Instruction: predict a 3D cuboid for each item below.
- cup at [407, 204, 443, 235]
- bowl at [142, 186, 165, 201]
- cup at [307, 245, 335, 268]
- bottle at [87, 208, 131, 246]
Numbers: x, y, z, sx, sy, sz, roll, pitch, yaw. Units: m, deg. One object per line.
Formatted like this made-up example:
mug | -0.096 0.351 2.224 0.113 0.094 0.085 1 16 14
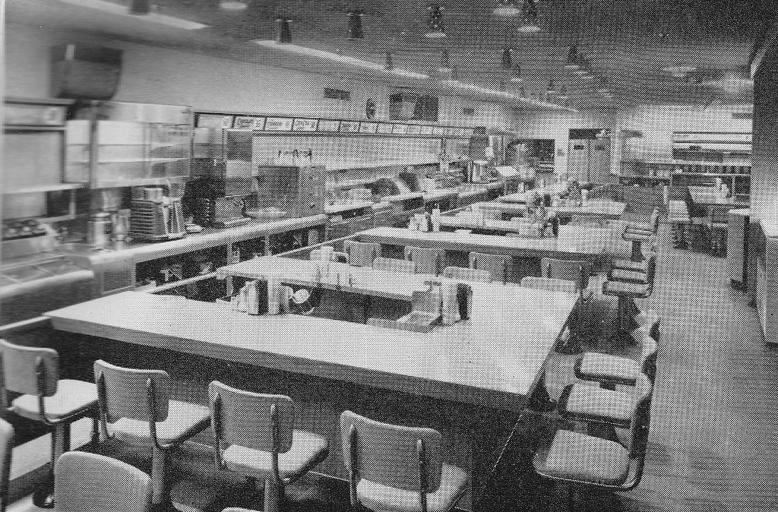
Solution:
cup | 0.380 -0.408 7.933 0.464 0.380 0.438 -1 3 0
bowl | -2.404 -0.638 6.917 0.218 0.128 0.196 1 8 -3
cup | -0.588 -0.004 5.826 0.195 0.115 0.170 0 3 9
bottle | -2.624 -0.232 6.444 0.487 0.403 0.329 4 10 -5
